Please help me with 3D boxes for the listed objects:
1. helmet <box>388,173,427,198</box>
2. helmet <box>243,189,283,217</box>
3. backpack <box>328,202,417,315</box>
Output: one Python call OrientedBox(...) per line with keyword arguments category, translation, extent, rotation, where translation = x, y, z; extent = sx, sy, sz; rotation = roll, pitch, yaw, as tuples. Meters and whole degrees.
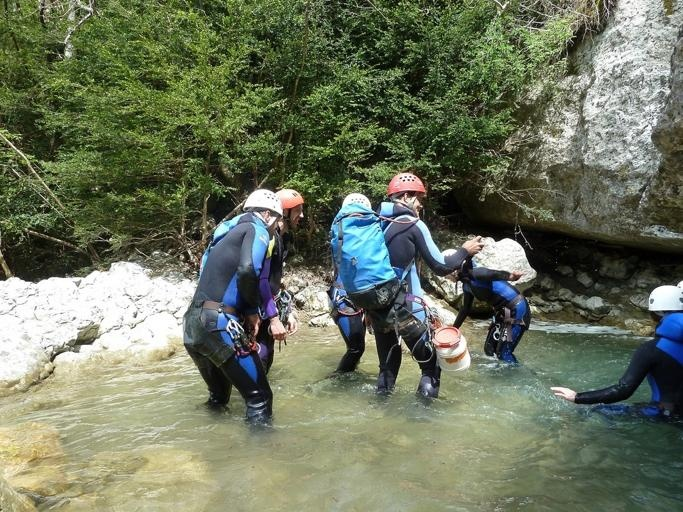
OrientedBox(category="helmet", translation=(0.824, -0.878, 6.699), extent=(0.426, 0.211, 0.280), rotation=(-2, 7, -6))
OrientedBox(category="helmet", translation=(-0.867, -0.581, 6.115), extent=(0.401, 0.215, 0.292), rotation=(8, -10, -17))
OrientedBox(category="backpack", translation=(0.254, -0.067, 6.373), extent=(0.527, 1.072, 0.788), rotation=(-10, 18, -41))
